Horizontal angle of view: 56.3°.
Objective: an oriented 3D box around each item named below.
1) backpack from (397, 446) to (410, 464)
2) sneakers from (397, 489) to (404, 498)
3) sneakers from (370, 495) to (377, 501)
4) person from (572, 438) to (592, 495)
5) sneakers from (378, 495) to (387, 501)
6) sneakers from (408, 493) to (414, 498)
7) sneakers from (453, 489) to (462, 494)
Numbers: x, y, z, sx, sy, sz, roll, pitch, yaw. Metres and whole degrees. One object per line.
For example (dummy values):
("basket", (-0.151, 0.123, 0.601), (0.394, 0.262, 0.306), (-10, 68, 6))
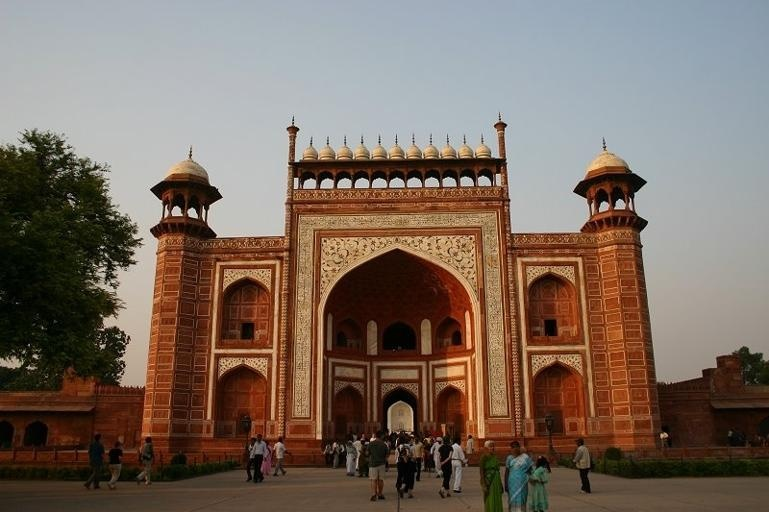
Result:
("backpack", (0.517, 5.064, 18.372), (0.340, 0.439, 0.425), (-1, -2, 4))
("sneakers", (0.421, 6.020, 18.183), (0.223, 0.289, 0.079), (-2, 6, 4))
("sneakers", (-0.254, 5.993, 17.700), (0.101, 0.150, 0.158), (2, -40, -2))
("person", (5.242, 5.530, 18.982), (0.406, 1.424, 1.308), (-5, -19, 13))
("sneakers", (-0.034, 6.024, 17.869), (0.102, 0.108, 0.285), (2, -28, -3))
("sneakers", (0.701, 6.112, 18.299), (0.143, 0.131, 0.074), (2, -26, -7))
("sneakers", (1.931, 6.204, 18.881), (0.200, 0.078, 0.065), (-3, -5, 14))
